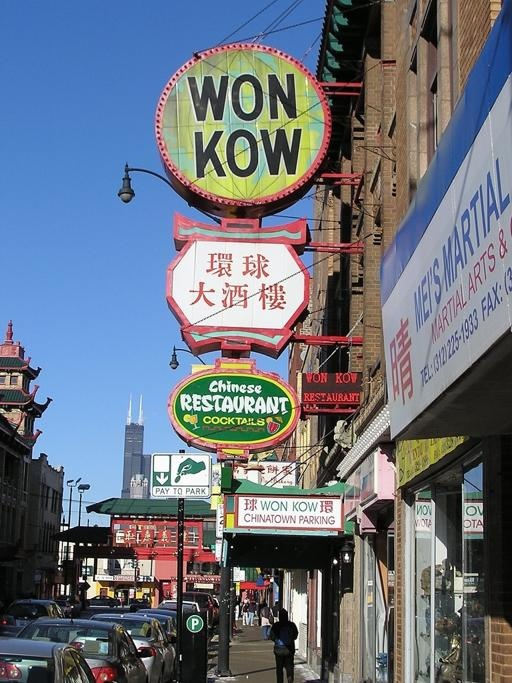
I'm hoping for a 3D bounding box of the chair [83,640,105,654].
[{"bbox_3d":[-2.064,3.935,12.527,0.310,0.194,0.309,4,-21,-10],"label":"chair"}]
